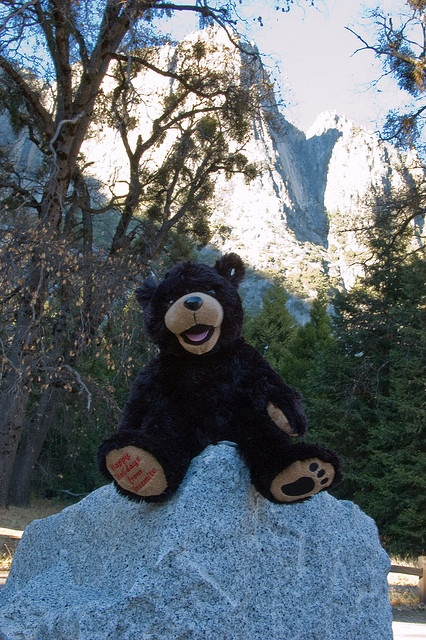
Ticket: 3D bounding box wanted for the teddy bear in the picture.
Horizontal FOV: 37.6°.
[{"bbox_3d":[0.039,0.248,3.237,1.098,1.297,0.748,4,-4,-2],"label":"teddy bear"}]
